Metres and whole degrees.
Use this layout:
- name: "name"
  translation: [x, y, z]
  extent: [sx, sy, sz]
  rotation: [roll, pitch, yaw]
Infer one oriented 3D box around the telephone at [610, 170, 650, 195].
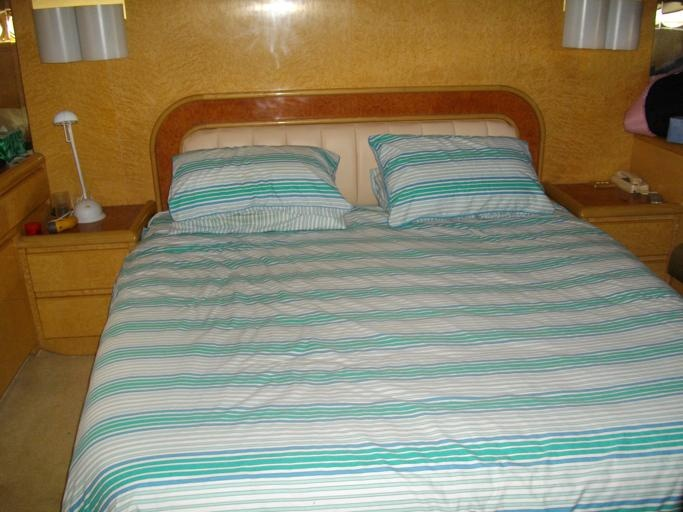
- name: "telephone"
  translation: [2.036, -0.518, 3.544]
  extent: [0.165, 0.069, 0.230]
  rotation: [-1, 23, -1]
